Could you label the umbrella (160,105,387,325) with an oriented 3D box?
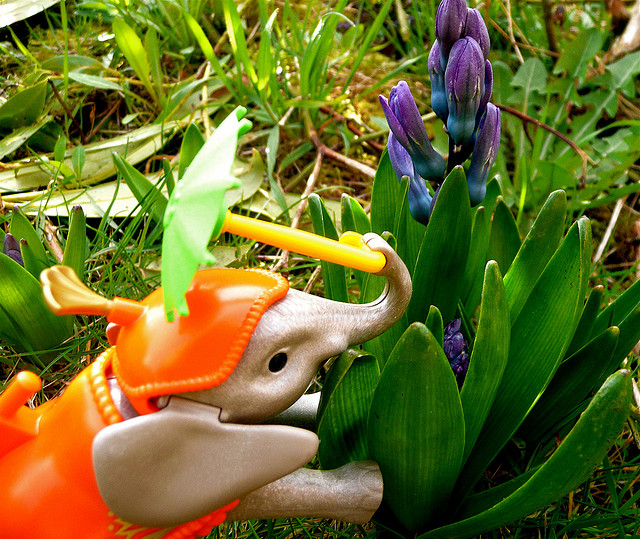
[{"bbox_3d":[-0.110,-0.021,1.508,0.349,0.277,0.426,19,71,-17],"label":"umbrella"}]
